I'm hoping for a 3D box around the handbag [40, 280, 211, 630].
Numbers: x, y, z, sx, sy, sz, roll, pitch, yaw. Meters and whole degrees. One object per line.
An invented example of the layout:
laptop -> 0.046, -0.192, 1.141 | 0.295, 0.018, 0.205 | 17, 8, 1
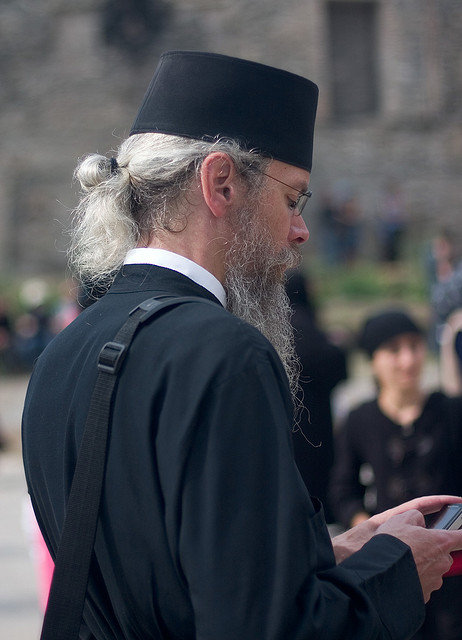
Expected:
handbag -> -0.229, 0.286, 2.430 | 0.464, 0.627, 0.258 | -9, 3, -1
